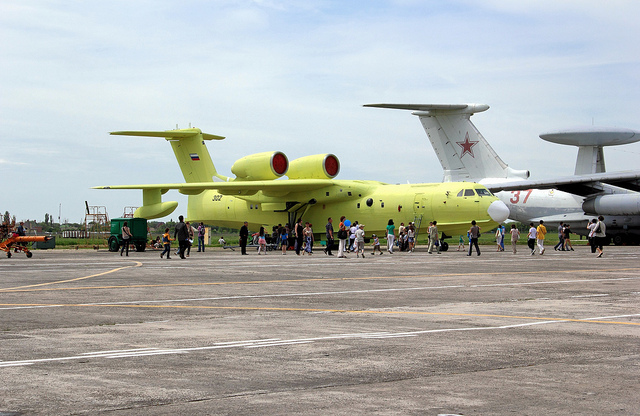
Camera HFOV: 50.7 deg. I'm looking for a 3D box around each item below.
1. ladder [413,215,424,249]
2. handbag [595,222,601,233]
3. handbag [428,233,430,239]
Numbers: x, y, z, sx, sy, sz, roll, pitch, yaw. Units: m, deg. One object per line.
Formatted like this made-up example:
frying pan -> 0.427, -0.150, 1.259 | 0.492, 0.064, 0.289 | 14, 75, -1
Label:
ladder -> 5.116, 0.949, 35.408 | 0.414, 1.153, 0.788 | 0, -4, -9
handbag -> 12.291, 0.866, 29.797 | 0.167, 0.407, 0.369 | -1, -4, 0
handbag -> 5.431, 1.407, 33.691 | 0.133, 0.167, 0.151 | -5, 8, -11
